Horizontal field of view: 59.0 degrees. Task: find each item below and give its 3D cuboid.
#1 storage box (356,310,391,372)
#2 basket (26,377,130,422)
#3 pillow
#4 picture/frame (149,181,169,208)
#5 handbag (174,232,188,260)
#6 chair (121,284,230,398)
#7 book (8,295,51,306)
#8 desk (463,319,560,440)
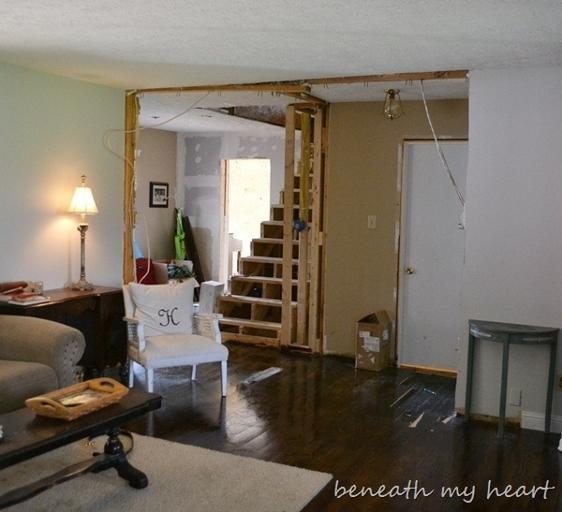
[{"bbox_3d":[0.923,0.820,4.960,0.372,0.543,0.386,1,1,-6],"label":"storage box"},{"bbox_3d":[-1.000,0.715,2.497,0.241,0.090,0.335,5,7,27],"label":"basket"},{"bbox_3d":[-0.999,0.449,4.113,0.361,0.359,0.133,-6,-12,-17],"label":"pillow"},{"bbox_3d":[-1.954,-0.992,7.946,0.031,0.444,0.440,2,5,28],"label":"picture/frame"},{"bbox_3d":[-1.616,-0.150,8.123,0.140,0.462,0.178,-4,9,-6],"label":"handbag"},{"bbox_3d":[-0.868,0.648,4.076,0.737,0.880,0.776,0,3,-27],"label":"chair"},{"bbox_3d":[-1.851,0.319,3.687,0.278,0.068,0.184,0,3,-28],"label":"book"},{"bbox_3d":[1.588,0.840,3.444,0.588,0.724,0.362,3,3,20],"label":"desk"}]
